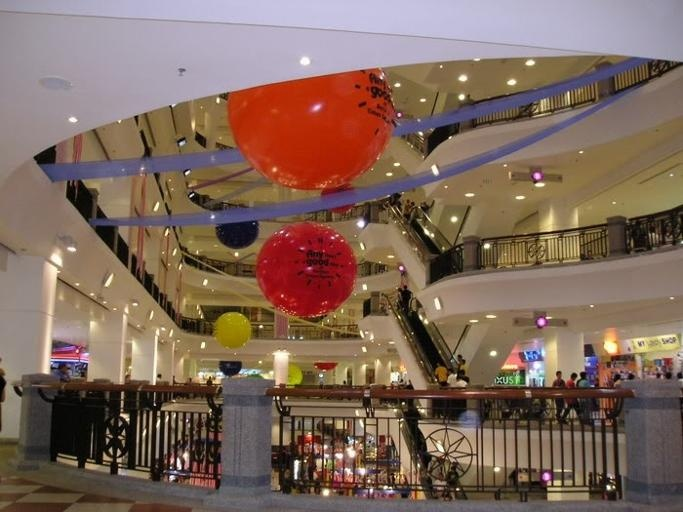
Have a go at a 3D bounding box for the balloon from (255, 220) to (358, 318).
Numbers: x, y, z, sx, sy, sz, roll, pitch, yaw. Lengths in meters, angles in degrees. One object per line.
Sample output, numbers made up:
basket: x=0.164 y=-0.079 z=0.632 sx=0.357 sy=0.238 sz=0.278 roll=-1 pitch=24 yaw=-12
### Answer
balloon: x=-0.319 y=0.133 z=5.299 sx=0.995 sy=0.843 sz=0.882 roll=15 pitch=0 yaw=3

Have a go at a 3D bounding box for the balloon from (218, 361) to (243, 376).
balloon: x=-5.065 y=5.088 z=25.246 sx=0.857 sy=0.645 sz=0.865 roll=6 pitch=-7 yaw=-28

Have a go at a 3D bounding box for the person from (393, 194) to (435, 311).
person: x=2.438 y=-0.834 z=18.233 sx=0.597 sy=4.086 sz=0.701 roll=-21 pitch=-60 yaw=2

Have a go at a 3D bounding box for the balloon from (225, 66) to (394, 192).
balloon: x=-0.273 y=-0.861 z=3.662 sx=0.939 sy=0.843 sz=0.835 roll=2 pitch=-53 yaw=-18

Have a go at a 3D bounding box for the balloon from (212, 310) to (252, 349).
balloon: x=-2.407 y=1.661 z=12.316 sx=0.817 sy=0.969 sz=0.821 roll=3 pitch=7 yaw=-6

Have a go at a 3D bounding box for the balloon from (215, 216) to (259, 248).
balloon: x=-1.872 y=-0.426 z=10.128 sx=0.879 sy=0.440 sz=0.727 roll=-11 pitch=-20 yaw=31

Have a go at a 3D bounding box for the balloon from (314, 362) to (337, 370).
balloon: x=-0.959 y=5.902 z=29.575 sx=1.118 sy=0.412 sz=1.132 roll=-7 pitch=-13 yaw=29
